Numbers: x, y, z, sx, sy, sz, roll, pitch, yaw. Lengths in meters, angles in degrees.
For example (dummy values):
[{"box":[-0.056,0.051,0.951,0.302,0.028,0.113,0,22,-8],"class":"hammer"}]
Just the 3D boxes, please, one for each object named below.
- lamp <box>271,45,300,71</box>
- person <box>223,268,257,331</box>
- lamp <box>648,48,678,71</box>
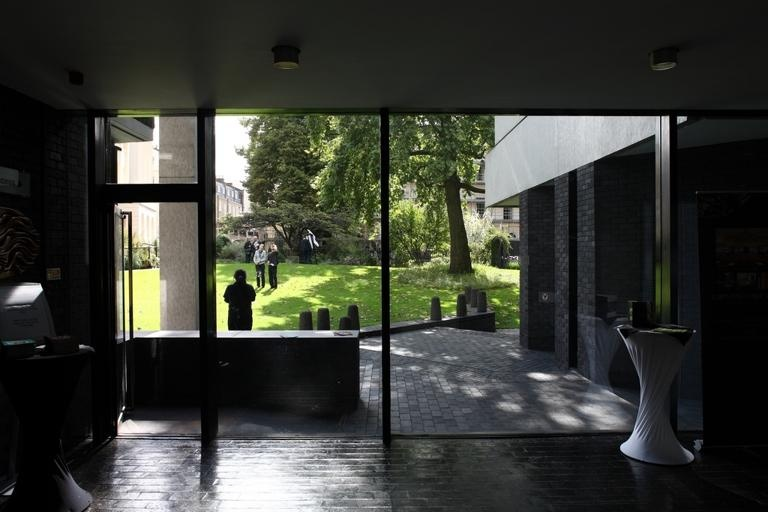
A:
[{"box":[-0.788,-1.614,4.609,0.236,0.161,0.177,-1,12,-6],"class":"lamp"},{"box":[-1.504,0.549,5.963,0.327,0.794,0.258,-1,14,-17],"class":"person"},{"box":[2.300,-1.607,4.671,0.168,0.102,0.164,2,5,18],"class":"lamp"}]
